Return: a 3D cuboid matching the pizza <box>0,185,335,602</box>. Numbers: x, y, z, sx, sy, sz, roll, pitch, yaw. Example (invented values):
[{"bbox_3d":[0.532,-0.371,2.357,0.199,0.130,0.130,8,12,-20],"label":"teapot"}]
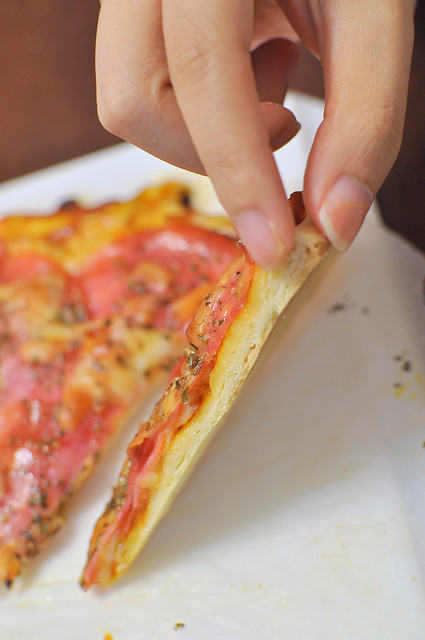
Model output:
[{"bbox_3d":[-0.021,0.087,0.609,0.314,0.074,0.301,1,63,36],"label":"pizza"}]
